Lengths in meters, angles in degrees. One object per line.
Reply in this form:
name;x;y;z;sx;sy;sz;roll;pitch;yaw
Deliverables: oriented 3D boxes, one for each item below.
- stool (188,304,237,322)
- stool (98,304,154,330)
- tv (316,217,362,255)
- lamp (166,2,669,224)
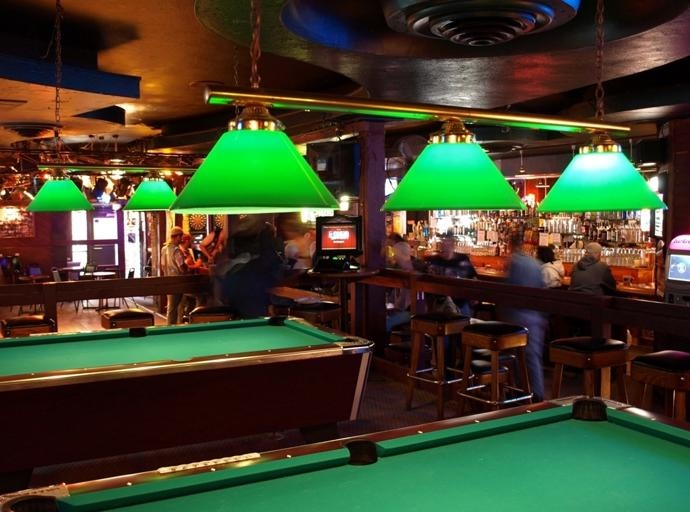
stool;-1.579;0.685;6.733;0.602;0.197;0.478;0;-3;-6
stool;-2.564;0.700;6.427;0.651;0.222;0.458;0;5;-33
tv;-0.227;-0.250;7.035;0.765;0.468;0.428;-3;4;-44
lamp;0.659;-1.266;4.720;3.456;1.089;0.733;-1;10;-21
